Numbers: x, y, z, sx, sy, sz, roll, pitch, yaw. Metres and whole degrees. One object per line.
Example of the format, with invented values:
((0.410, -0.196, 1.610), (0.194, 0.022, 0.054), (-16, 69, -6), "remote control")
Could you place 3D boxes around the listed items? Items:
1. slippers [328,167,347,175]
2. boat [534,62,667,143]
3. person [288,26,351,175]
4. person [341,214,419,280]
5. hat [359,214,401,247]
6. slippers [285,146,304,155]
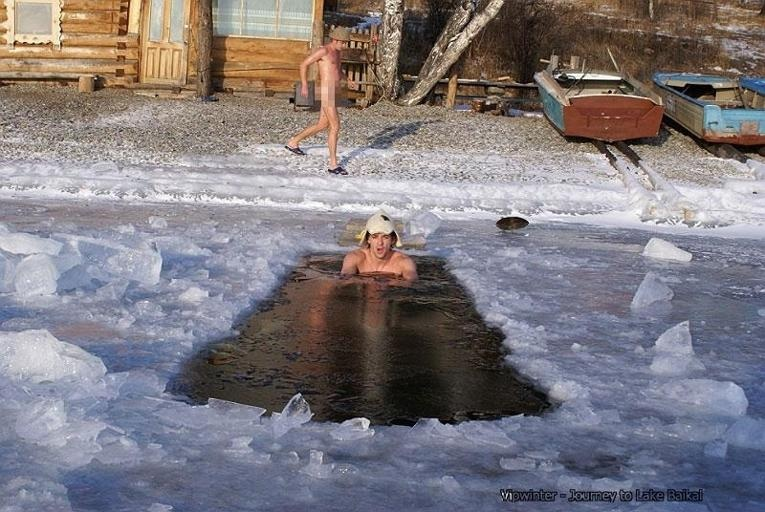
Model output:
((-0.706, -1.346, 10.887), (0.310, 0.068, 0.138), (2, 12, 17), "slippers")
((4.682, -3.581, 15.292), (2.383, 0.785, 3.016), (-1, 33, -1), "boat")
((-0.925, -2.461, 10.929), (0.856, 2.281, 1.394), (4, 14, -7), "person")
((-0.015, -0.070, 7.307), (0.975, 0.573, 0.559), (5, 10, 28), "person")
((-0.039, -0.295, 7.320), (0.587, 0.359, 0.360), (3, 44, -1), "hat")
((-1.524, -1.834, 11.970), (0.401, 0.099, 0.123), (16, 11, -4), "slippers")
